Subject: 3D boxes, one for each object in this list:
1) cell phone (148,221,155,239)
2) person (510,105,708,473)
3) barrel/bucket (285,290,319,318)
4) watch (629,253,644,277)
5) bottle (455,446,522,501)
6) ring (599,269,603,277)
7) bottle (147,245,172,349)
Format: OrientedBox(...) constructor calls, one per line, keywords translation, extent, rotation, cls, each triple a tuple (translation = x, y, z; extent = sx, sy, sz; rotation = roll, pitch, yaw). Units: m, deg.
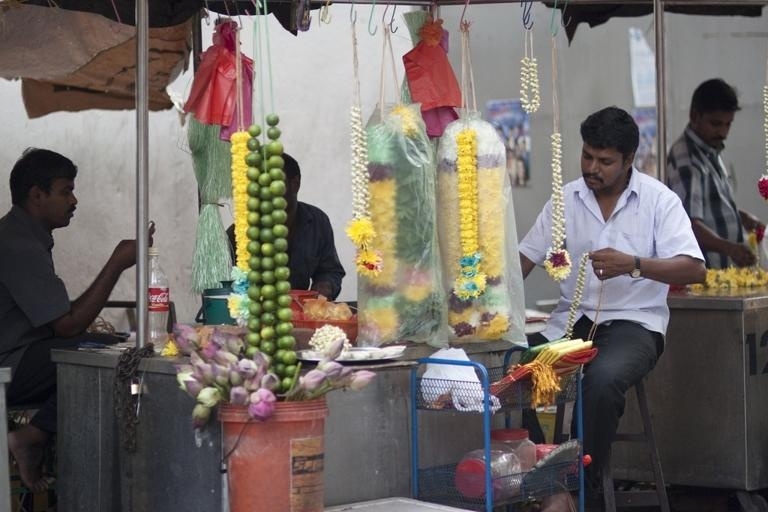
OrientedBox(translation=(-1.157, -0.136, 6.818), extent=(0.030, 0.080, 0.077), rotation=(8, 8, -12), cls="cell phone")
OrientedBox(translation=(1.240, 0.130, 7.320), extent=(1.105, 1.815, 1.238), rotation=(2, 1, 43), cls="person")
OrientedBox(translation=(-0.411, 0.237, 6.909), extent=(0.121, 0.098, 0.126), rotation=(0, 1, 0), cls="barrel/bucket")
OrientedBox(translation=(1.267, 0.042, 6.909), extent=(0.055, 0.095, 0.094), rotation=(1, -30, 9), cls="watch")
OrientedBox(translation=(0.477, 0.986, 6.343), extent=(0.222, 0.189, 0.253), rotation=(-3, -5, 22), cls="bottle")
OrientedBox(translation=(1.088, 0.080, 6.873), extent=(0.026, 0.038, 0.011), rotation=(5, -5, 4), cls="ring")
OrientedBox(translation=(-1.119, 0.217, 6.620), extent=(0.146, 0.526, 0.148), rotation=(-1, -1, 0), cls="bottle")
